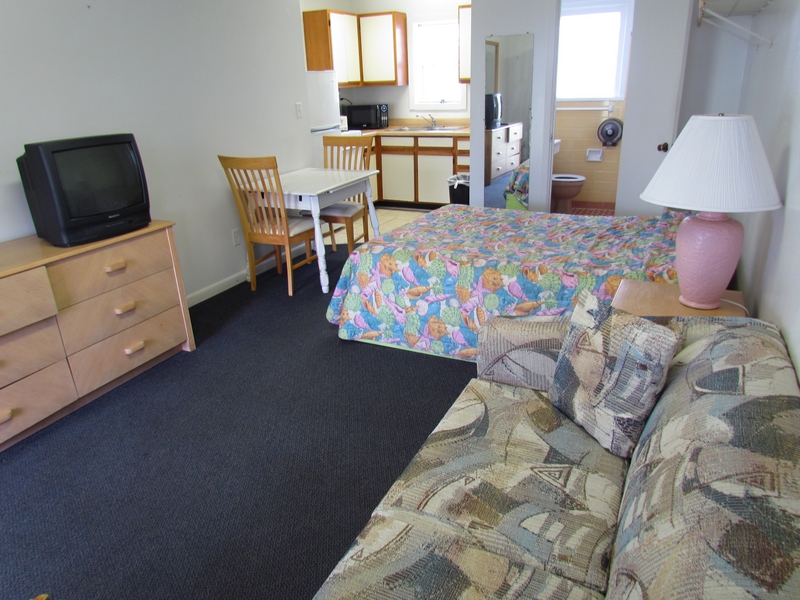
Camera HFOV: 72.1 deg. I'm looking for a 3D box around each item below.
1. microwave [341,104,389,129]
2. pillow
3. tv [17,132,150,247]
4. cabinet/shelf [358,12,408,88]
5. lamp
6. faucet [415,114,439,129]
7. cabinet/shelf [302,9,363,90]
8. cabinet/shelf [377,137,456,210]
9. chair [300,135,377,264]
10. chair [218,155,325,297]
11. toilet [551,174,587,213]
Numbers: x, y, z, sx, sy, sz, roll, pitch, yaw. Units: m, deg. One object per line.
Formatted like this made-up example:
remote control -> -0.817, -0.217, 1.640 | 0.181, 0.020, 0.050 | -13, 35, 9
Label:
microwave -> -0.432, -2.242, 6.682 | 0.459, 0.318, 0.320 | 0, 23, 0
pillow -> 0.750, 0.273, 2.062 | 0.252, 0.474, 0.490 | -15, 22, -17
tv -> -1.766, -0.605, 3.129 | 0.388, 0.512, 0.504 | -7, 11, 31
cabinet/shelf -> -0.284, -2.937, 6.545 | 0.476, 0.707, 0.377 | -5, 22, -9
lamp -> 1.196, -0.327, 2.180 | 0.434, 0.765, 0.307 | -2, 22, 2
faucet -> 0.334, -2.188, 6.752 | 0.229, 0.161, 0.237 | 11, 16, 10
cabinet/shelf -> -0.683, -2.787, 6.102 | 0.302, 0.748, 0.854 | 11, 26, 31
cabinet/shelf -> 0.229, -1.499, 6.331 | 1.057, 1.009, 0.387 | 6, 21, 19
chair -> -0.603, -0.900, 4.862 | 0.650, 1.073, 0.641 | -8, 21, -29
chair -> -0.983, -0.638, 4.356 | 0.590, 1.128, 0.576 | 18, 32, 36
toilet -> 1.782, -1.121, 5.959 | 0.383, 0.444, 0.389 | -1, 21, -9
